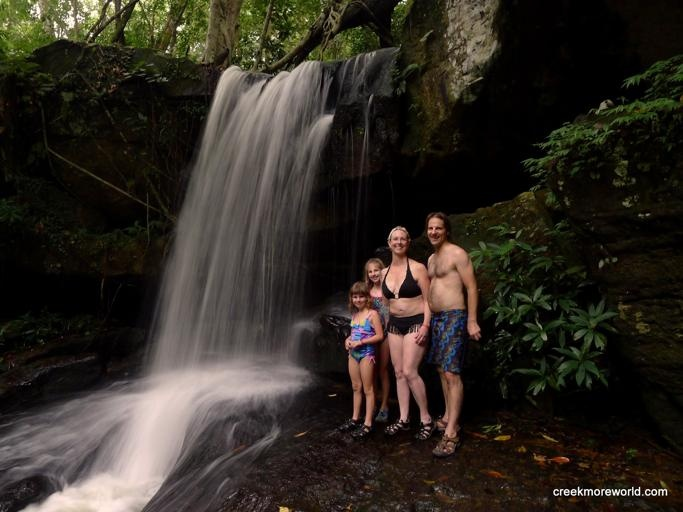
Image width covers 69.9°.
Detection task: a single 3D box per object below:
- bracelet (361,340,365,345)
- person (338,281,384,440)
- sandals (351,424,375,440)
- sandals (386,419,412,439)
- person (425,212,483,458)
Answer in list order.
[{"bbox_3d":[0.266,1.096,6.200,0.057,0.062,0.016,6,0,10],"label":"bracelet"},{"bbox_3d":[0.265,1.313,6.312,0.553,1.933,0.382,0,-4,7],"label":"person"},{"bbox_3d":[0.260,2.209,6.144,0.238,0.109,0.141,2,-6,-31],"label":"sandals"},{"bbox_3d":[0.726,2.193,6.188,0.334,0.158,0.147,5,-10,-35],"label":"sandals"},{"bbox_3d":[1.353,0.911,5.918,0.579,2.861,0.396,0,-4,8],"label":"person"}]
